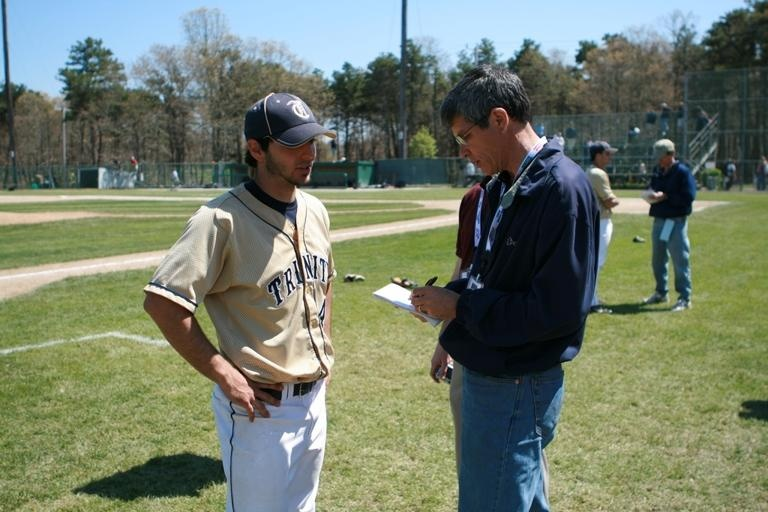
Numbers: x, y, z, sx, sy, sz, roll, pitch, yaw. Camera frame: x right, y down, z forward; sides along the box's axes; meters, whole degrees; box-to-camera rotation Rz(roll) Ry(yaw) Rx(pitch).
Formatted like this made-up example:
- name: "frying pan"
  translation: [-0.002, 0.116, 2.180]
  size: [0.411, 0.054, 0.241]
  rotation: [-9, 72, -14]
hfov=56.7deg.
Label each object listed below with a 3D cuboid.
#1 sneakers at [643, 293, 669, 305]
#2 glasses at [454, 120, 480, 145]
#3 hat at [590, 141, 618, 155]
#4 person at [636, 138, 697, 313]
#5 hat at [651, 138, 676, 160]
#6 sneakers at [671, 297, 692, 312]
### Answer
- name: "sneakers"
  translation: [4.465, 0.686, 11.625]
  size: [0.434, 0.206, 0.179]
  rotation: [-1, 2, -2]
- name: "glasses"
  translation: [0.690, -1.010, 5.855]
  size: [0.152, 0.044, 0.144]
  rotation: [-46, 0, -2]
- name: "hat"
  translation: [3.515, -1.694, 11.073]
  size: [0.534, 0.215, 0.361]
  rotation: [3, 12, -3]
- name: "person"
  translation: [4.602, -0.523, 11.407]
  size: [0.728, 2.645, 0.864]
  rotation: [2, 8, 24]
- name: "hat"
  translation: [4.446, -1.676, 11.252]
  size: [0.256, 0.308, 0.361]
  rotation: [3, 9, 28]
- name: "sneakers"
  translation: [4.711, 0.777, 11.280]
  size: [0.385, 0.181, 0.141]
  rotation: [-4, 4, -27]
